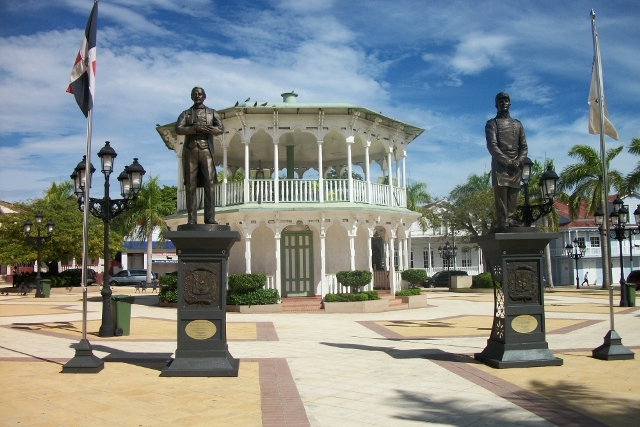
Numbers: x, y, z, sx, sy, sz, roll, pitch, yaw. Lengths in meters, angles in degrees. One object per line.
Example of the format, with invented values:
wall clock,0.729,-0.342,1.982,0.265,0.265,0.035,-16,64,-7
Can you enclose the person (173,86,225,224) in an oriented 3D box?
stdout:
person,-3.030,-1.467,16.695,1.071,3.465,0.833,0,-5,-10

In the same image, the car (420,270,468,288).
car,9.758,5.112,51.865,3.957,1.174,1.553,0,-5,6

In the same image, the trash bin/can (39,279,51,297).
trash bin/can,-16.036,4.331,38.902,0.505,0.972,1.185,1,-5,-17

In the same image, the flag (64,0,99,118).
flag,-6.337,-4.184,17.890,0.734,3.241,0.449,-5,-7,38

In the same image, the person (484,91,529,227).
person,4.792,-1.395,17.212,0.981,3.574,0.561,-2,-5,9

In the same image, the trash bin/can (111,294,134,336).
trash bin/can,-6.250,3.196,21.022,0.609,1.226,0.667,0,-5,-16

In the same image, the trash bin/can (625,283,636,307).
trash bin/can,13.827,3.629,29.819,0.352,0.960,0.563,-3,-5,20
